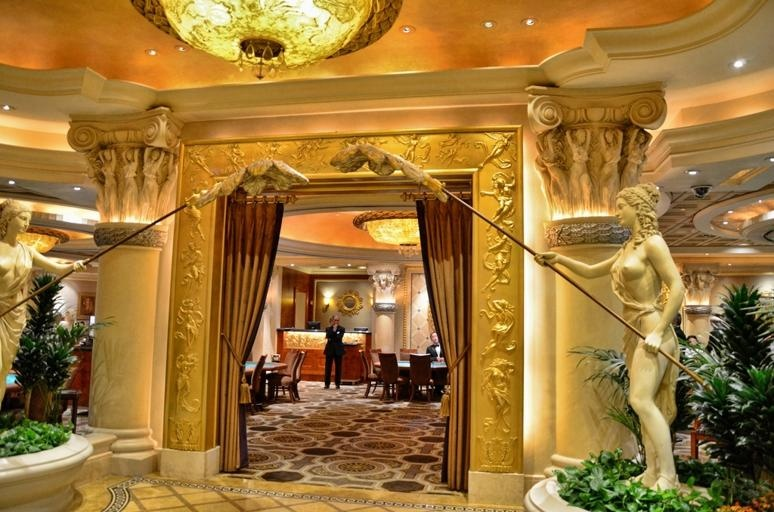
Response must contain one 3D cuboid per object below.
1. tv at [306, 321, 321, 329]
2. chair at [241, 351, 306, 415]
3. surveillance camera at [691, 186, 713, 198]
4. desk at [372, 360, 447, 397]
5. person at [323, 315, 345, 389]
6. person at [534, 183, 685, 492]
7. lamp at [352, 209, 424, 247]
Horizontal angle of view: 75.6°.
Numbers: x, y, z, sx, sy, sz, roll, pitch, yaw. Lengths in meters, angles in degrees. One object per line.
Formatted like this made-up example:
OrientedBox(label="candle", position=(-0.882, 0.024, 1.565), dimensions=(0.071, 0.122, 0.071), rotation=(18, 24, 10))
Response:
OrientedBox(label="tv", position=(-2.230, 2.102, 14.998), dimensions=(0.363, 0.199, 0.221), rotation=(1, -15, 4))
OrientedBox(label="chair", position=(-2.466, 2.713, 10.879), dimensions=(1.249, 0.838, 1.814), rotation=(0, -6, 3))
OrientedBox(label="surveillance camera", position=(4.518, -0.942, 7.202), dimensions=(0.220, 0.076, 0.206), rotation=(2, -10, -6))
OrientedBox(label="desk", position=(0.812, 2.910, 11.862), dimensions=(1.854, 0.856, 2.183), rotation=(7, -15, -18))
OrientedBox(label="person", position=(-1.403, 2.561, 13.086), dimensions=(0.478, 1.792, 1.595), rotation=(4, -15, -5))
OrientedBox(label="person", position=(1.923, 0.568, 3.927), dimensions=(0.727, 2.339, 0.472), rotation=(-3, -16, 19))
OrientedBox(label="lamp", position=(-0.027, -0.708, 11.272), dimensions=(1.435, 0.643, 1.281), rotation=(1, -15, 4))
